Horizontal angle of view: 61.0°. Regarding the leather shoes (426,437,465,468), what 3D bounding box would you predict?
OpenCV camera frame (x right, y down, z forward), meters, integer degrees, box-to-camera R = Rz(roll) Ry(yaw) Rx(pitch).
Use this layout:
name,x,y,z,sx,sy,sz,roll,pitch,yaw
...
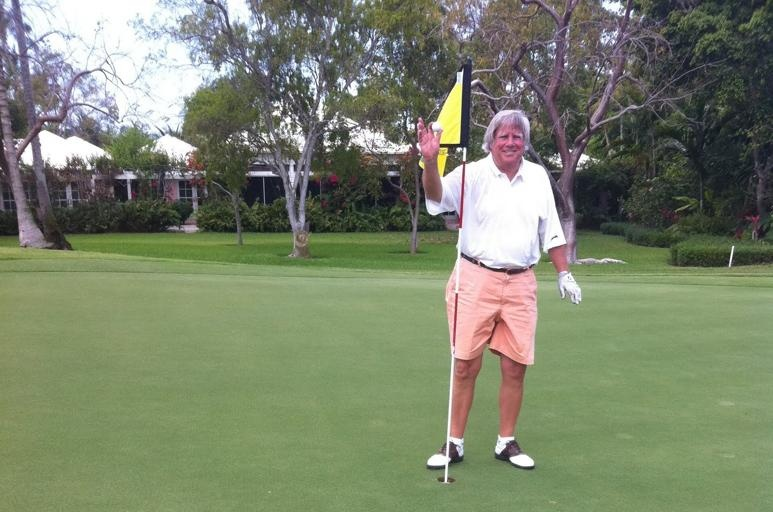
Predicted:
name,x,y,z,sx,sy,sz,roll,pitch,yaw
leather shoes,0.536,1.738,5.963,0.264,0.259,0.416,2,6,27

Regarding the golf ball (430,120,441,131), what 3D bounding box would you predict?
name,x,y,z,sx,sy,sz,roll,pitch,yaw
golf ball,0.431,-1.202,5.944,0.083,0.090,0.033,-1,-16,-32

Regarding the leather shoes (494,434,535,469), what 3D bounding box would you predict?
name,x,y,z,sx,sy,sz,roll,pitch,yaw
leather shoes,1.149,1.765,5.998,0.163,0.199,0.398,-2,1,-35
